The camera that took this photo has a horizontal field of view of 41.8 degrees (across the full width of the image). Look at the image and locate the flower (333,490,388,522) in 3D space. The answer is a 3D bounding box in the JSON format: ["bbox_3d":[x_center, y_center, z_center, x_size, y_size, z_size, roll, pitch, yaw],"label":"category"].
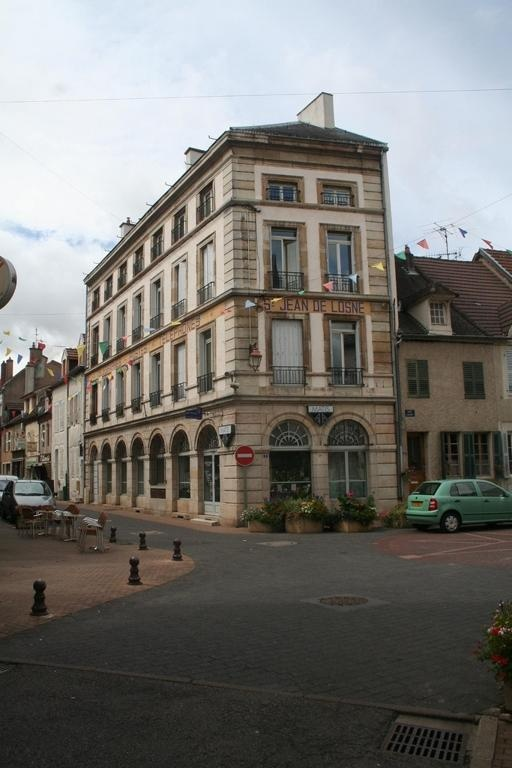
[{"bbox_3d":[2.871,3.528,19.032,1.091,0.704,1.072,2,2,-29],"label":"flower"}]

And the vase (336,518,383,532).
[{"bbox_3d":[2.846,3.949,18.820,0.663,0.225,0.646,1,-3,-21],"label":"vase"}]

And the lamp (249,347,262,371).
[{"bbox_3d":[-0.016,-0.866,21.756,0.402,0.834,0.399,0,-8,-5],"label":"lamp"}]
